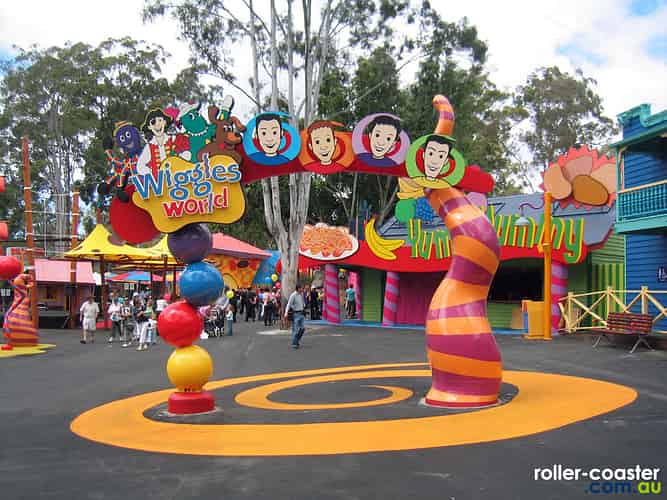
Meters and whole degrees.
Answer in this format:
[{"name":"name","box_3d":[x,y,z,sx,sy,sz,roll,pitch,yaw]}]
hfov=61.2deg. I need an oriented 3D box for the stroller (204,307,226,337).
[{"name":"stroller","box_3d":[-4.901,3.053,23.599,0.793,1.329,1.291,1,-17,-1]}]
